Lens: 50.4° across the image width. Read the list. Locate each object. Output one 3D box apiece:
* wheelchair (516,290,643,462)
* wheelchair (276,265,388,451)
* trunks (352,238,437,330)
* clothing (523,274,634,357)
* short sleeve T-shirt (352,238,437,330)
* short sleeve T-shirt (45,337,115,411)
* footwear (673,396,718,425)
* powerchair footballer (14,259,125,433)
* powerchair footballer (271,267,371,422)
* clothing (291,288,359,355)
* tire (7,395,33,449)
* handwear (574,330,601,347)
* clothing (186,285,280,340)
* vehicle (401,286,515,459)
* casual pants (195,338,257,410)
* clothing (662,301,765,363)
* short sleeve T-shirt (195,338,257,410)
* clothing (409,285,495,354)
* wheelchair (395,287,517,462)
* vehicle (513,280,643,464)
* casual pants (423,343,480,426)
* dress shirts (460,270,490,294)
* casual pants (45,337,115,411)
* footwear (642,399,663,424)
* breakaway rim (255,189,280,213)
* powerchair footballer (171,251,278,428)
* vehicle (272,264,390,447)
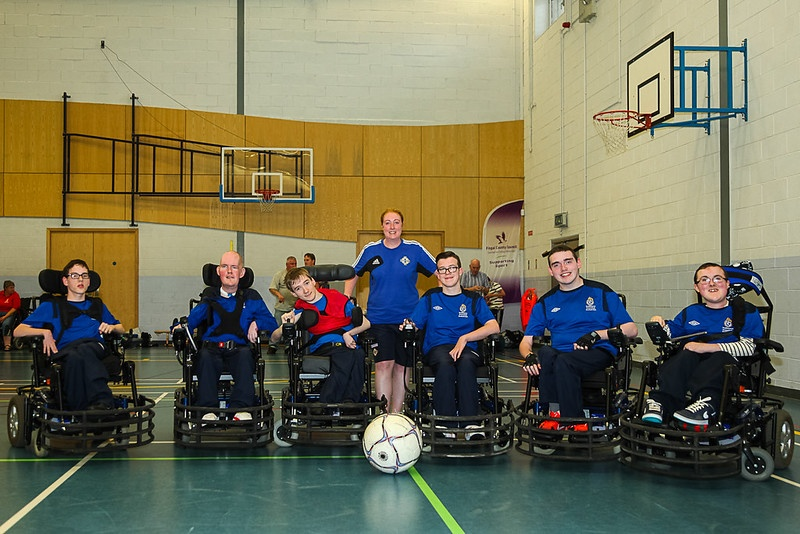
[{"bbox_3d":[2.128,1.280,9.589,1.698,1.609,1.142,0,-5,-45],"label":"wheelchair"},{"bbox_3d":[-0.817,0.977,9.642,1.087,1.763,1.841,-4,7,-4],"label":"wheelchair"},{"bbox_3d":[-0.060,0.168,10.270,1.130,0.964,0.400,0,8,13],"label":"trunks"},{"bbox_3d":[2.211,0.580,10.172,1.230,0.938,0.594,-13,-15,18],"label":"clothing"},{"bbox_3d":[-0.065,0.232,10.592,1.495,1.266,0.549,0,-10,-2],"label":"short sleeve T-shirt"},{"bbox_3d":[-3.419,1.127,9.162,0.616,0.761,0.358,-1,1,13],"label":"short sleeve T-shirt"},{"bbox_3d":[3.036,1.464,8.663,0.432,0.267,0.192,-2,-1,-29],"label":"footwear"},{"bbox_3d":[-3.644,0.817,9.484,1.142,1.753,1.024,-1,1,-24],"label":"powerchair footballer"},{"bbox_3d":[-0.829,0.798,9.691,1.099,1.474,1.137,7,16,43],"label":"powerchair footballer"},{"bbox_3d":[-0.821,0.626,9.892,0.613,0.743,0.411,-14,24,-8],"label":"clothing"},{"bbox_3d":[-4.154,1.695,9.303,0.174,0.572,0.519,1,8,-33],"label":"tire"},{"bbox_3d":[2.045,0.771,9.203,0.213,0.088,0.168,-30,11,-16],"label":"handwear"},{"bbox_3d":[-1.906,0.557,9.683,1.102,0.445,0.572,1,17,-2],"label":"clothing"},{"bbox_3d":[0.634,1.096,9.637,1.176,1.546,1.983,0,8,2],"label":"vehicle"},{"bbox_3d":[-1.963,1.203,9.614,0.658,0.792,0.655,0,0,-12],"label":"casual pants"},{"bbox_3d":[3.312,0.830,9.211,1.060,0.384,1.014,1,8,20],"label":"clothing"},{"bbox_3d":[-1.962,1.193,9.603,0.699,0.788,0.745,1,2,11],"label":"short sleeve T-shirt"},{"bbox_3d":[0.664,0.635,10.002,1.246,0.941,0.672,-1,-9,8],"label":"clothing"},{"bbox_3d":[0.602,1.076,9.672,1.198,1.595,2.011,-1,9,-5],"label":"wheelchair"},{"bbox_3d":[1.688,1.275,9.863,1.403,1.904,1.927,-3,-10,21],"label":"vehicle"},{"bbox_3d":[0.597,1.231,9.338,0.586,0.621,0.439,-2,-1,4],"label":"casual pants"},{"bbox_3d":[1.384,0.272,15.525,0.445,0.381,0.222,1,-7,-2],"label":"dress shirts"},{"bbox_3d":[-3.431,1.133,9.173,0.616,0.761,0.358,-1,1,13],"label":"casual pants"},{"bbox_3d":[2.627,1.486,8.784,0.216,0.228,0.168,-3,-1,15],"label":"footwear"},{"bbox_3d":[-2.716,-1.380,17.589,0.378,0.340,0.480,-2,-1,-10],"label":"breakaway rim"},{"bbox_3d":[-1.965,0.789,9.603,1.064,1.784,1.030,3,7,0],"label":"powerchair footballer"},{"bbox_3d":[-0.822,0.984,9.522,1.062,1.687,1.730,-3,12,-2],"label":"vehicle"}]
